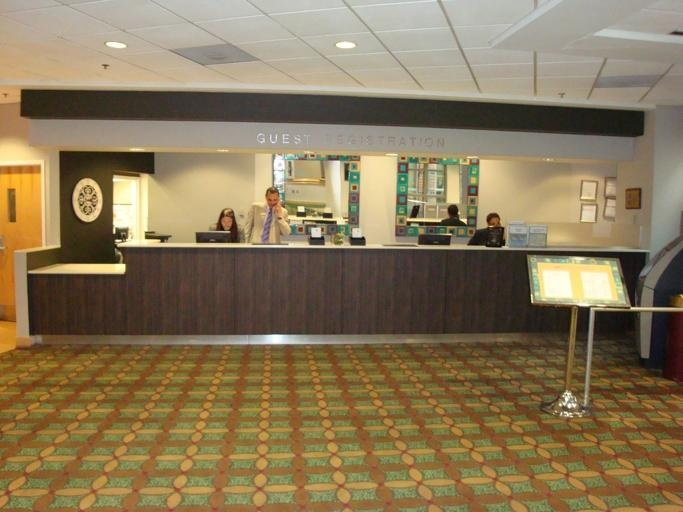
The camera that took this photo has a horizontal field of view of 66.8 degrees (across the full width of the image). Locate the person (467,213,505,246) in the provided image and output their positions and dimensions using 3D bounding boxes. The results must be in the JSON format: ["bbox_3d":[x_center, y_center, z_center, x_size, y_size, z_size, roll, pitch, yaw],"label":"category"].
[{"bbox_3d":[2.363,-0.399,8.347,0.529,0.465,0.917,5,13,16],"label":"person"}]

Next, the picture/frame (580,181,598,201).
[{"bbox_3d":[5.170,-1.371,10.841,0.506,0.486,0.063,7,7,42],"label":"picture/frame"}]

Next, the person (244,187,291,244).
[{"bbox_3d":[-1.155,-0.619,8.163,0.576,0.928,0.815,-4,15,-22],"label":"person"}]

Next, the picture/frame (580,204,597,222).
[{"bbox_3d":[5.168,-0.899,10.867,0.458,0.437,0.060,6,2,40],"label":"picture/frame"}]

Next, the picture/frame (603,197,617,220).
[{"bbox_3d":[5.485,-0.963,10.643,0.142,0.453,0.243,-9,18,-37],"label":"picture/frame"}]

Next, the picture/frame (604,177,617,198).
[{"bbox_3d":[5.479,-1.406,10.623,0.239,0.411,0.112,14,19,41],"label":"picture/frame"}]

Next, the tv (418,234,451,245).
[{"bbox_3d":[1.415,-0.256,7.913,0.451,0.148,0.077,1,14,-3],"label":"tv"}]

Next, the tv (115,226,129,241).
[{"bbox_3d":[-4.392,-0.451,10.426,0.314,0.304,0.366,-1,0,5],"label":"tv"}]
